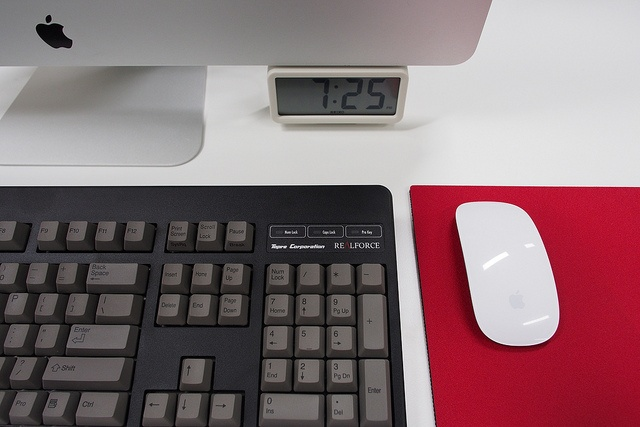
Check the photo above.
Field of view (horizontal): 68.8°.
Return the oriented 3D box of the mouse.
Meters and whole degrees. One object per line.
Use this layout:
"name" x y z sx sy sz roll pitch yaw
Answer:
"mouse" 0.228 0.074 0.572 0.097 0.164 0.040 -3 -24 -2
